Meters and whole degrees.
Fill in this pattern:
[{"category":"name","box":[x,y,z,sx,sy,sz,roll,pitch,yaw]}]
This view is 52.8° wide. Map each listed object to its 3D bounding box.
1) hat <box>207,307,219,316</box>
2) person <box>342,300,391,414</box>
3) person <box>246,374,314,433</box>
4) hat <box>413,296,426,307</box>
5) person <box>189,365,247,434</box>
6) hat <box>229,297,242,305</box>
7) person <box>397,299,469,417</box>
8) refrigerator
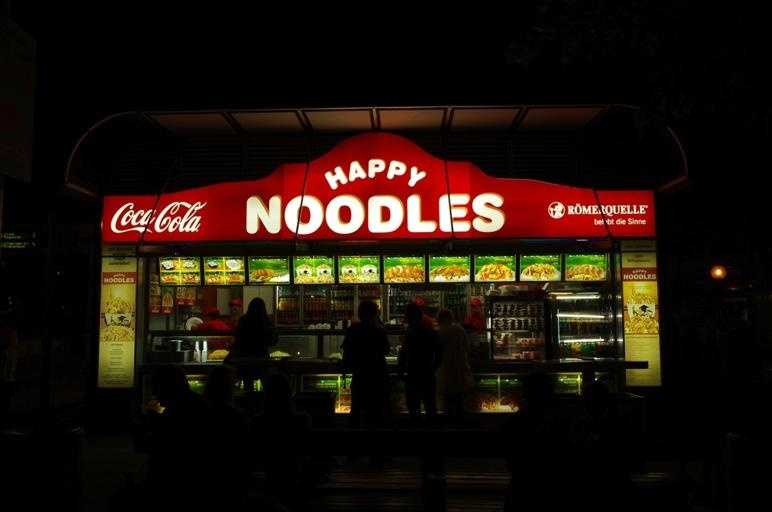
[{"category":"hat","box":[-3.120,1.012,13.912,0.251,0.097,0.342,2,-2,-27]},{"category":"person","box":[-0.292,1.473,10.995,0.653,1.640,0.331,-1,-11,-4]},{"category":"person","box":[-1.260,1.757,8.999,0.729,0.640,0.360,-3,-8,9]},{"category":"hat","box":[0.623,0.841,14.559,0.278,0.155,0.382,1,-8,13]},{"category":"person","box":[-1.795,1.595,8.705,0.467,0.727,1.634,1,-10,-11]},{"category":"hat","box":[-2.975,0.899,15.364,0.388,0.142,0.281,3,-4,10]},{"category":"person","box":[0.737,1.556,11.560,0.700,1.631,1.317,-7,-12,27]},{"category":"refrigerator","box":[3.079,1.205,12.679,1.113,0.984,0.574,0,-5,-1]}]
